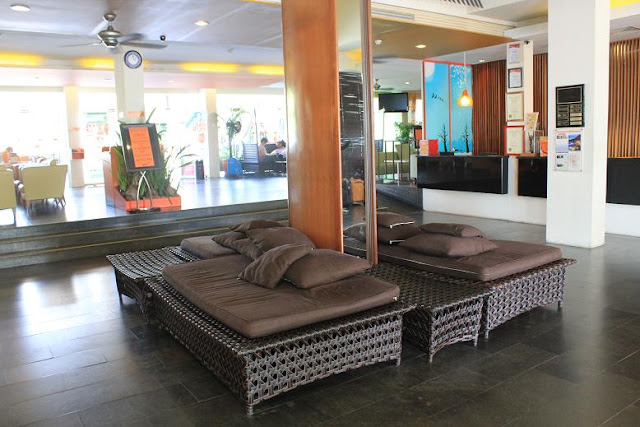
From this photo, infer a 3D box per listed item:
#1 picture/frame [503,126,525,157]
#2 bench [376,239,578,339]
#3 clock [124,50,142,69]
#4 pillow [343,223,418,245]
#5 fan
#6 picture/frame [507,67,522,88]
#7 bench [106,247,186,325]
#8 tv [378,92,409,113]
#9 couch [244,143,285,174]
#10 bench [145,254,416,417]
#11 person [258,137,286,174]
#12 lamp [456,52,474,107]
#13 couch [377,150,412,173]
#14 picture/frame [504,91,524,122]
[{"bbox_3d":[4.270,-1.622,9.453,0.426,0.576,0.258,3,14,38],"label":"picture/frame"},{"bbox_3d":[1.931,0.632,4.547,1.264,0.373,1.180,-5,8,-33],"label":"bench"},{"bbox_3d":[-3.901,-3.202,8.992,0.460,0.381,0.116,0,5,-43],"label":"clock"},{"bbox_3d":[0.719,0.256,5.189,0.457,0.123,0.474,-6,7,-36],"label":"pillow"},{"bbox_3d":[-3.835,-3.396,8.350,1.591,0.412,1.400,-3,8,-3],"label":"fan"},{"bbox_3d":[4.292,-2.949,9.435,0.022,0.443,0.349,-14,13,-34],"label":"picture/frame"},{"bbox_3d":[-2.106,0.825,5.115,0.848,0.227,0.885,-5,11,-29],"label":"bench"},{"bbox_3d":[3.018,-4.509,17.599,1.405,0.758,0.140,1,1,19],"label":"tv"},{"bbox_3d":[-2.259,-2.227,17.218,1.535,0.933,1.476,-7,11,-38],"label":"couch"},{"bbox_3d":[-0.195,1.107,3.635,1.058,0.335,1.602,-9,14,-35],"label":"bench"},{"bbox_3d":[-1.946,-2.285,17.605,0.794,0.790,2.216,-6,13,-17],"label":"person"},{"bbox_3d":[3.811,-3.427,11.337,0.348,1.194,1.478,-2,10,20],"label":"lamp"},{"bbox_3d":[2.374,-1.607,13.611,1.008,0.552,0.518,-5,7,-33],"label":"couch"},{"bbox_3d":[4.329,-2.342,9.532,0.128,0.666,0.415,-16,15,-41],"label":"picture/frame"}]
